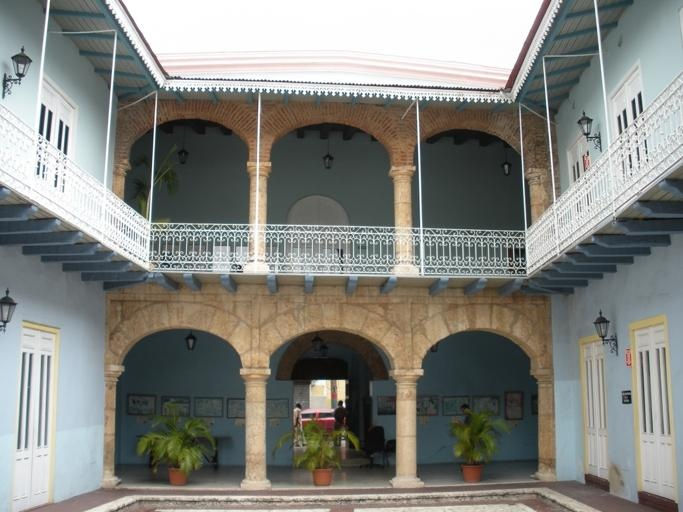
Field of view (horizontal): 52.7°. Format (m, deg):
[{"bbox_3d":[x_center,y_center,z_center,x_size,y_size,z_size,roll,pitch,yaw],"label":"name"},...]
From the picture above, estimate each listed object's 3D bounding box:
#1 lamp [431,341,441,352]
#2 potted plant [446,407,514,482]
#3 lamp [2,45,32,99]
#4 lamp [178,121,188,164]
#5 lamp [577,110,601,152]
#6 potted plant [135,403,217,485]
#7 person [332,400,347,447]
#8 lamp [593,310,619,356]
[{"bbox_3d":[2.684,2.614,19.745,0.274,0.286,0.352,-1,-8,6],"label":"lamp"},{"bbox_3d":[3.023,4.370,15.751,1.050,1.528,1.248,0,-16,20],"label":"potted plant"},{"bbox_3d":[-5.571,-3.213,11.861,0.407,1.134,0.789,4,-9,-28],"label":"lamp"},{"bbox_3d":[-4.399,-3.187,19.315,0.317,1.146,0.960,2,-8,-13],"label":"lamp"},{"bbox_3d":[5.152,-2.600,14.326,0.423,0.953,0.342,-3,7,22],"label":"lamp"},{"bbox_3d":[-3.722,4.310,15.557,1.419,1.514,1.656,-1,-4,7],"label":"potted plant"},{"bbox_3d":[0.013,5.322,22.068,0.357,1.319,0.391,0,7,13],"label":"person"},{"bbox_3d":[5.300,1.585,13.827,0.323,0.909,0.454,-8,2,-30],"label":"lamp"}]
